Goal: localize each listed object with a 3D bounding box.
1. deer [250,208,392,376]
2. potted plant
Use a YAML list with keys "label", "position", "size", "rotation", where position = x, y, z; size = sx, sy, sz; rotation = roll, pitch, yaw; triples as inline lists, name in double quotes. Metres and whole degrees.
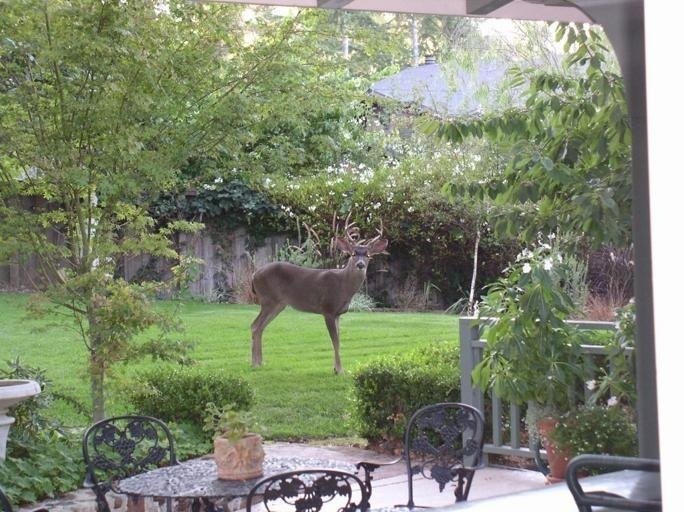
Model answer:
- label: "deer"
  position: [-0.305, 0.474, 9.596]
  size: [1.636, 1.869, 0.553]
  rotation: [2, 5, 13]
- label: "potted plant"
  position: [1.831, 1.355, 6.204]
  size: [0.546, 0.475, 0.611]
  rotation: [-3, -5, 13]
